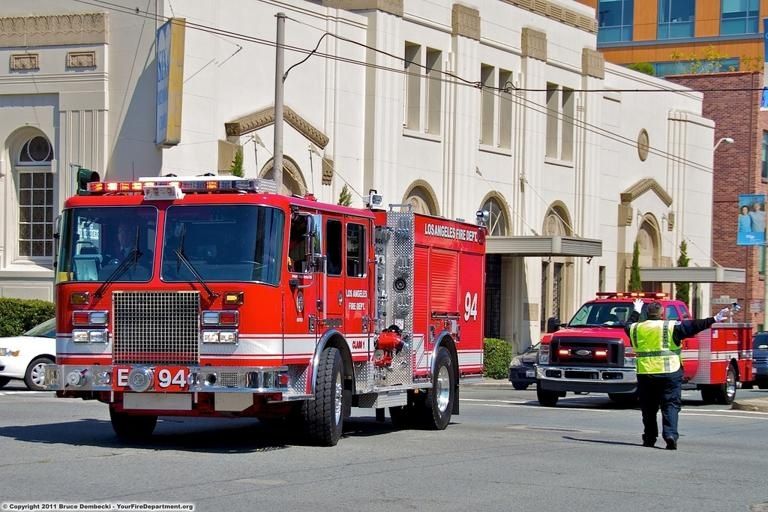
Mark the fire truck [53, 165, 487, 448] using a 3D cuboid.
[{"bbox_3d":[-1.753,1.262,25.810,5.252,5.237,11.958,-1,-4,23],"label":"fire truck"}]

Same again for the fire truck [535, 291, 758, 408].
[{"bbox_3d":[7.218,2.545,32.897,3.641,3.098,8.804,-2,-5,34],"label":"fire truck"}]
